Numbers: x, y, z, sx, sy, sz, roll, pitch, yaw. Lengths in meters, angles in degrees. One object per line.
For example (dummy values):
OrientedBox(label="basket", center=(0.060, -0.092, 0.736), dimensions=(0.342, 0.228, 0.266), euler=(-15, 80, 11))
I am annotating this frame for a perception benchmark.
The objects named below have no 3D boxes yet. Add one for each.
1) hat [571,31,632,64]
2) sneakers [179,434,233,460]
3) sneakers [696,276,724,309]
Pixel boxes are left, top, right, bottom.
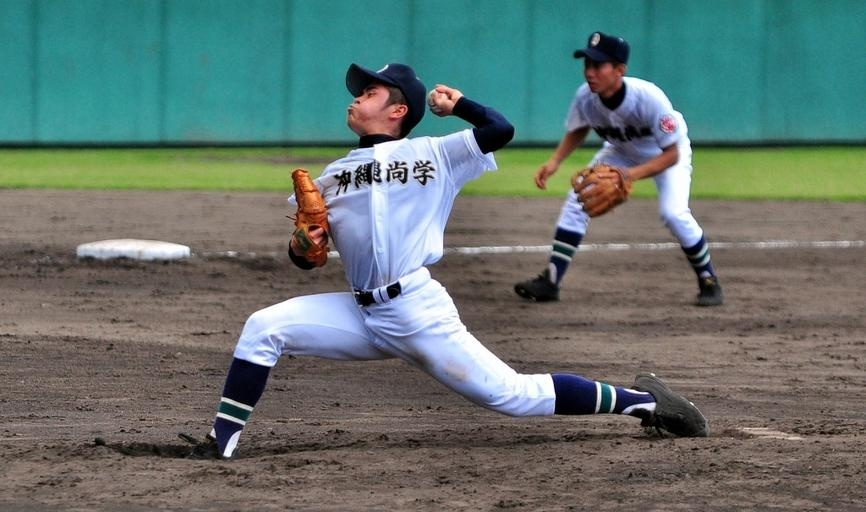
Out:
OrientedBox(label="hat", center=(1.917, -2.347, 15.095), dimensions=(0.700, 0.306, 0.471), euler=(-8, 20, -44))
OrientedBox(label="sneakers", center=(-2.096, 1.740, 12.386), dimensions=(0.570, 0.205, 0.215), euler=(5, 7, 22))
OrientedBox(label="sneakers", center=(3.192, 0.426, 15.491), dimensions=(0.213, 0.185, 0.451), euler=(-3, 9, 5))
